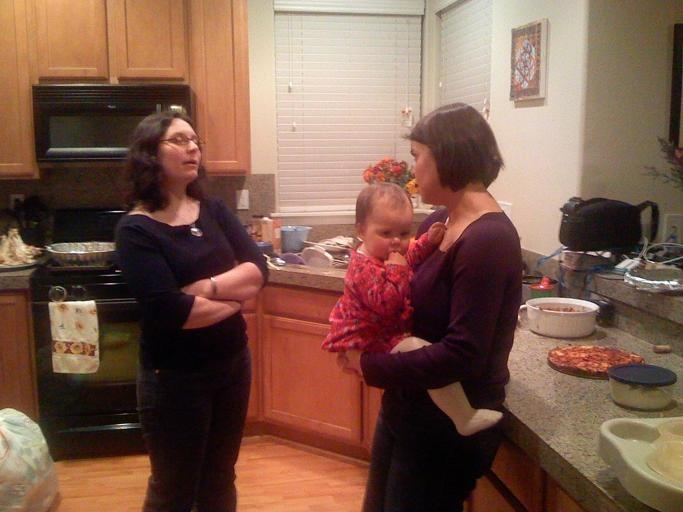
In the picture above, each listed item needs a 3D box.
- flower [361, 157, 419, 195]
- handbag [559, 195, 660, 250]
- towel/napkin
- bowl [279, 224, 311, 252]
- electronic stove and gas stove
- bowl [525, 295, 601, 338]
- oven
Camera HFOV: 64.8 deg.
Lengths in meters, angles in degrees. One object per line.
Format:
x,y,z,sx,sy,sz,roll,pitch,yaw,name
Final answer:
0.348,-0.545,3.641,0.371,0.210,0.361,1,5,17,flower
1.252,-0.163,2.562,0.382,0.218,0.253,0,7,0,handbag
-1.434,0.435,2.904,0.241,0.386,0.093,-2,13,-3,towel/napkin
-0.312,-0.111,3.631,0.178,0.110,0.175,-3,2,0,bowl
-1.439,0.153,2.908,0.335,0.123,0.348,-1,12,-6,electronic stove and gas stove
0.917,0.255,2.225,0.231,0.075,0.176,-2,8,6,bowl
-1.490,0.711,3.298,0.808,0.833,0.749,-4,-6,-5,oven
